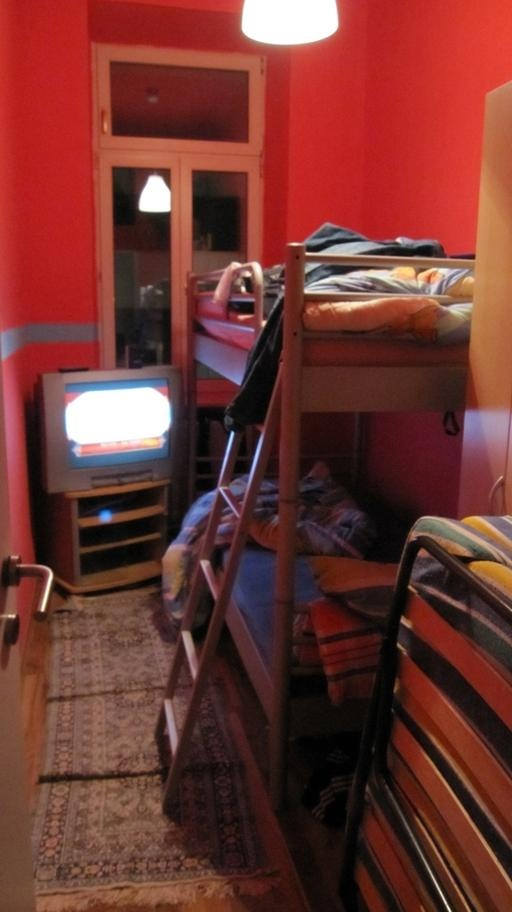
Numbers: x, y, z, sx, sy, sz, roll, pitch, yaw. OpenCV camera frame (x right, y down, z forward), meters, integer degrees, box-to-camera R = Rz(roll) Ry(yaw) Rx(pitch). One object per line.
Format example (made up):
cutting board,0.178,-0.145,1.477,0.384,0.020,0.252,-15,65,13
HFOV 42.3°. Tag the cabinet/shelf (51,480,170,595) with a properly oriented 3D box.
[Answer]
cabinet/shelf,-0.729,0.317,3.342,0.598,0.650,0.468,-4,6,-28

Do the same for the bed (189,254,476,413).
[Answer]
bed,0.147,-0.505,2.183,0.568,0.461,0.978,-3,11,-13

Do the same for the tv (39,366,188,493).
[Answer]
tv,-0.708,-0.206,3.279,0.634,0.606,0.371,-7,30,-24

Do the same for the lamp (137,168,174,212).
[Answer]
lamp,-0.570,-1.474,3.696,0.177,0.192,0.197,2,27,-5

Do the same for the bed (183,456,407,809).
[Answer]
bed,0.074,0.513,1.846,0.241,0.269,0.823,-3,27,-10
